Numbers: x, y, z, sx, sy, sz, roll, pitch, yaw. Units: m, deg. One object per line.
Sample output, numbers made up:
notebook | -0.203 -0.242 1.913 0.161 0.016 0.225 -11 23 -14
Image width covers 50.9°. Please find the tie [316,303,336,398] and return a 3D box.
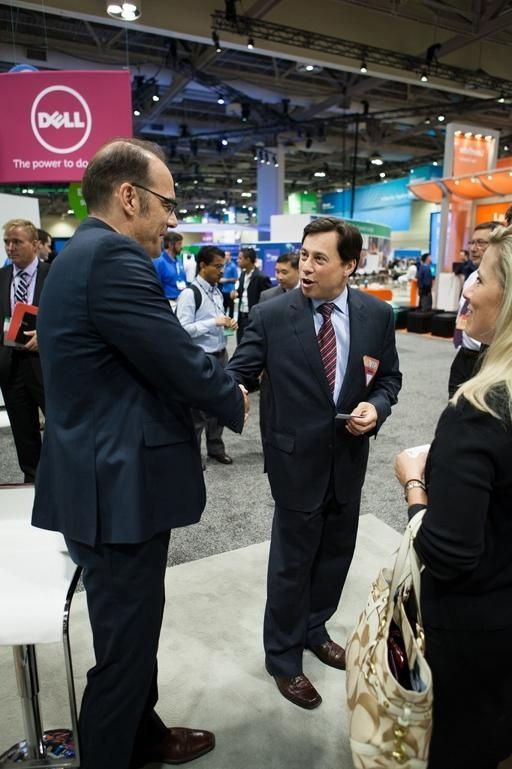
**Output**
tie | 0.205 -0.100 1.578 0.045 0.292 0.044 0 -7 -3

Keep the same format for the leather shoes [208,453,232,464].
leather shoes | -0.252 0.536 3.958 0.198 0.084 0.069 0 4 39

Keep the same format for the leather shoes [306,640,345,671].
leather shoes | 0.256 0.928 1.890 0.172 0.068 0.063 8 5 35

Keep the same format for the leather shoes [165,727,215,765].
leather shoes | -0.189 0.978 1.459 0.159 0.069 0.059 -5 9 -10

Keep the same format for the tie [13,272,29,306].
tie | -1.340 -0.556 3.071 0.090 0.173 0.031 2 11 12

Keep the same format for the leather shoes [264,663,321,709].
leather shoes | 0.124 0.944 1.690 0.067 0.064 0.163 -4 4 -34
